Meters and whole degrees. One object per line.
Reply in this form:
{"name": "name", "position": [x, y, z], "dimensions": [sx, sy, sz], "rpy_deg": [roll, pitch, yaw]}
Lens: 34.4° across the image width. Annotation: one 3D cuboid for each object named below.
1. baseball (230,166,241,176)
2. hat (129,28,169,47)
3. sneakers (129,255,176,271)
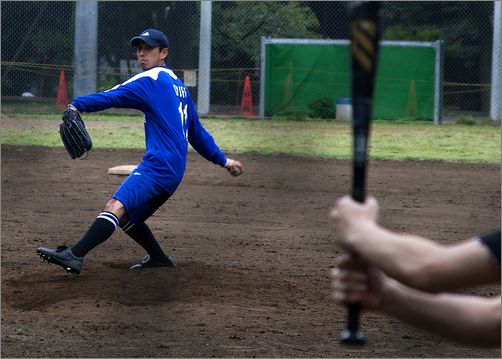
{"name": "baseball", "position": [-0.178, -0.084, 9.518], "dimensions": [0.118, 0.093, 0.080], "rpy_deg": [4, 1, 11]}
{"name": "hat", "position": [-1.162, -1.629, 9.254], "dimensions": [0.347, 0.148, 0.231], "rpy_deg": [8, 1, -23]}
{"name": "sneakers", "position": [-1.137, 0.972, 9.417], "dimensions": [0.545, 0.190, 0.169], "rpy_deg": [2, 1, -2]}
